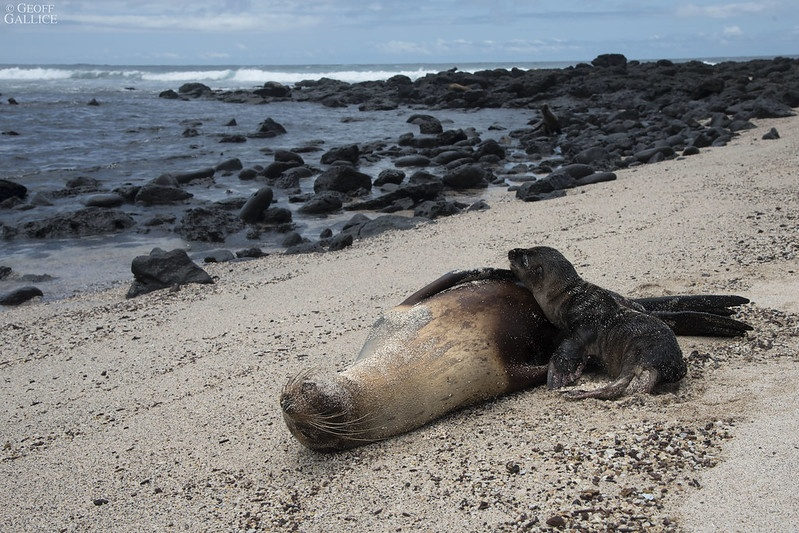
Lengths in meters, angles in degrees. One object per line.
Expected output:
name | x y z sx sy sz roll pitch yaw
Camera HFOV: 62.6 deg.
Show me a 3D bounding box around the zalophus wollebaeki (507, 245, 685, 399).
zalophus wollebaeki | 1.697 0.511 5.636 1.469 0.479 1.186 31 34 24
